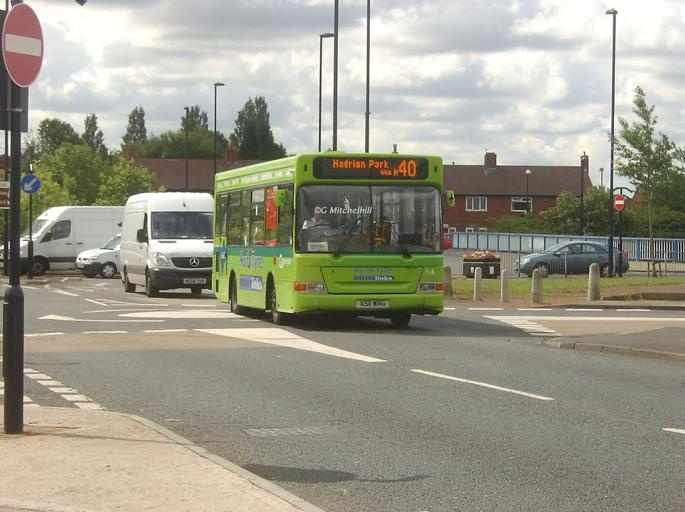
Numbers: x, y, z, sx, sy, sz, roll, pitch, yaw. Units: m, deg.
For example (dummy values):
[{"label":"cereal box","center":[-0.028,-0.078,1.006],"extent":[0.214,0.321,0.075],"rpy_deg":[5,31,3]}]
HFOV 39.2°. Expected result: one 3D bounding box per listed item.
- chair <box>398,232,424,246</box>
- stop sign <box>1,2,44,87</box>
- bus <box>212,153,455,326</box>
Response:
[{"label":"chair","center":[1.276,-0.325,18.217],"extent":[0.347,0.247,0.255],"rpy_deg":[0,4,-10]},{"label":"stop sign","center":[-2.839,-1.889,8.580],"extent":[0.337,0.608,0.229],"rpy_deg":[2,-1,-22]},{"label":"bus","center":[-0.717,-0.358,22.089],"extent":[2.920,3.472,8.810],"rpy_deg":[1,0,-18]}]
